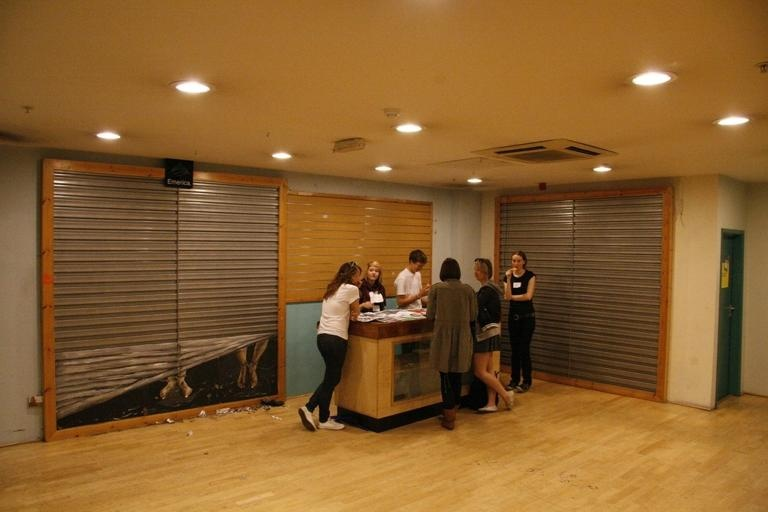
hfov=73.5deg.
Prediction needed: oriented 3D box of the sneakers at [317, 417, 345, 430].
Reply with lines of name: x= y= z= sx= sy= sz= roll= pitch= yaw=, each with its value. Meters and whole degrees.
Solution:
sneakers: x=-0.626 y=2.037 z=6.236 sx=0.310 sy=0.111 sz=0.121 roll=0 pitch=-3 yaw=-2

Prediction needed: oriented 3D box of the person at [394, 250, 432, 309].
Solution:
person: x=0.436 y=0.333 z=7.364 sx=0.442 sy=0.854 sz=0.498 roll=5 pitch=8 yaw=24

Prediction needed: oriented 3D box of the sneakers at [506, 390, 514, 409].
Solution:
sneakers: x=1.693 y=1.943 z=6.922 sx=0.107 sy=0.275 sz=0.110 roll=-4 pitch=-7 yaw=21

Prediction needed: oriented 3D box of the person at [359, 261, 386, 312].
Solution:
person: x=-0.162 y=0.421 z=7.122 sx=0.333 sy=0.669 sz=0.545 roll=1 pitch=7 yaw=-3

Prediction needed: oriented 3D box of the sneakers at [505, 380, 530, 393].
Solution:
sneakers: x=2.035 y=1.978 z=7.767 sx=0.436 sy=0.142 sz=0.149 roll=-1 pitch=-2 yaw=10

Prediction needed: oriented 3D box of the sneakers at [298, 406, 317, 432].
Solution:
sneakers: x=-0.929 y=1.943 z=6.174 sx=0.156 sy=0.344 sz=0.165 roll=-13 pitch=0 yaw=37

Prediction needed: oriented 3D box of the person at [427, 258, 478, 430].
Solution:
person: x=0.809 y=1.080 z=6.243 sx=0.583 sy=2.050 sz=0.445 roll=2 pitch=8 yaw=8

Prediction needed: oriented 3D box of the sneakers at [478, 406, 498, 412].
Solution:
sneakers: x=1.379 y=2.014 z=6.789 sx=0.228 sy=0.078 sz=0.084 roll=4 pitch=-12 yaw=-5

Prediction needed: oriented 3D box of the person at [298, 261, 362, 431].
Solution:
person: x=-0.595 y=1.097 z=6.155 sx=0.380 sy=1.994 sz=0.731 roll=8 pitch=10 yaw=39
